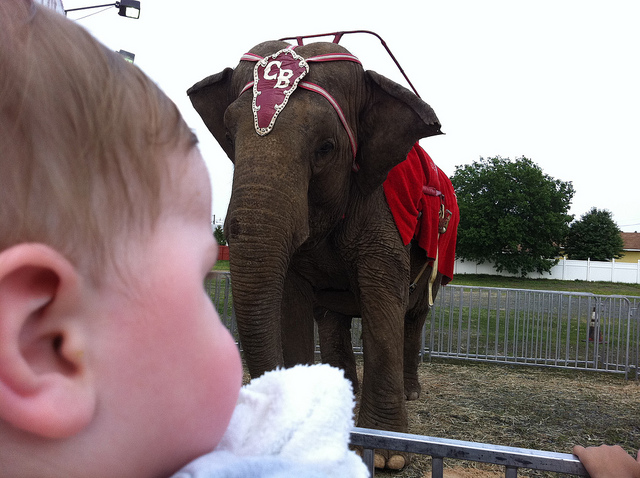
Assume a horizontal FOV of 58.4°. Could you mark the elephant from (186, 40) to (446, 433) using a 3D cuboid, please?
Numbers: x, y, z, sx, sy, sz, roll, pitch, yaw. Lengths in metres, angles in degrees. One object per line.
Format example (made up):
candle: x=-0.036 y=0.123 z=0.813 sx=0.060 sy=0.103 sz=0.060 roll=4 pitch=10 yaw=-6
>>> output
elephant: x=0.284 y=0.089 z=3.783 sx=1.236 sy=2.154 sz=2.410 roll=5 pitch=1 yaw=31

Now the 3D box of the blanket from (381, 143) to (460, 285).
blanket: x=0.678 y=-0.196 z=4.183 sx=0.512 sy=0.984 sz=1.596 roll=-4 pitch=-13 yaw=13
